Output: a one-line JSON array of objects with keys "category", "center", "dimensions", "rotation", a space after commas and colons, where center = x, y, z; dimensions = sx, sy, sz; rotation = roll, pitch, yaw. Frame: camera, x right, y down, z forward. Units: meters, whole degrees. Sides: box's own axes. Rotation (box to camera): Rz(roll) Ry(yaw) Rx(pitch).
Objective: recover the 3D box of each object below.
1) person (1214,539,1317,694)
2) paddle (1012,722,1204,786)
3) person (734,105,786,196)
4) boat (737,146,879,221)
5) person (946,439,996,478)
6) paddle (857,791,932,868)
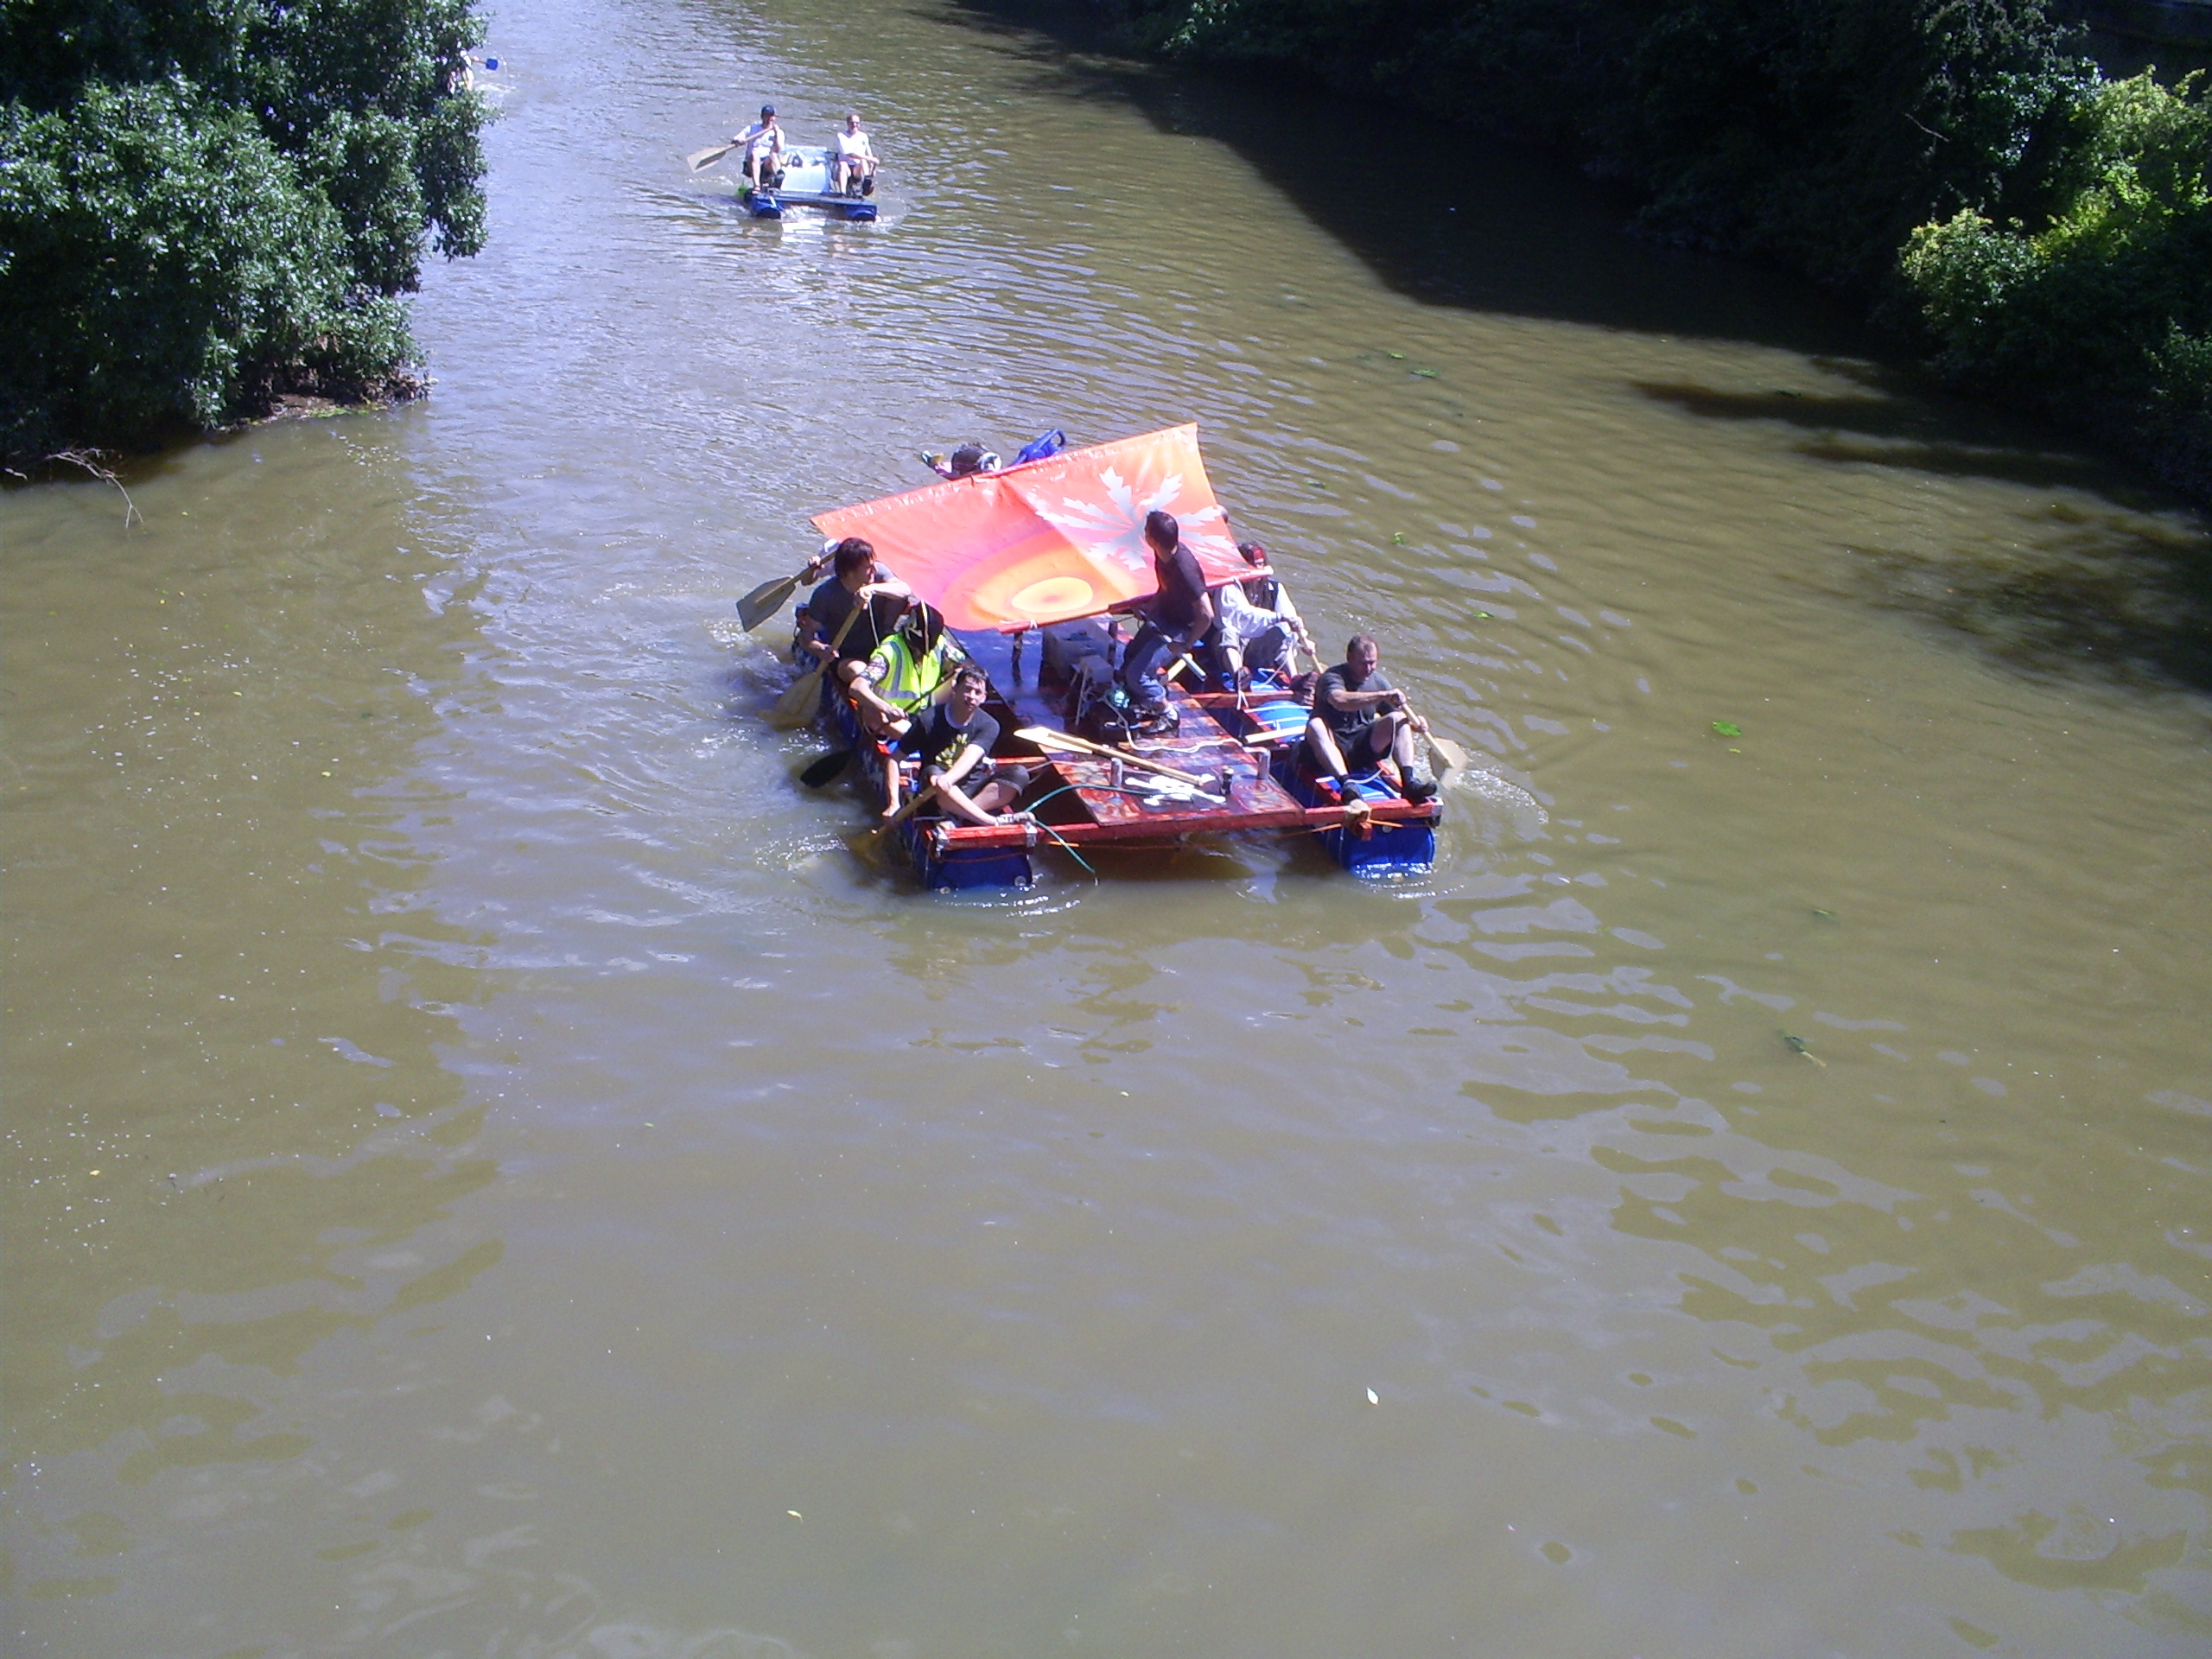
[{"category": "person", "center": [1.625, -2.402, 27.394], "dimensions": [1.048, 1.756, 1.572], "rotation": [0, 0, -22]}, {"category": "paddle", "center": [0.058, -0.769, 25.421], "dimensions": [2.154, 0.404, 0.499], "rotation": [16, 31, 6]}, {"category": "person", "center": [-6.447, -12.878, 44.737], "dimensions": [0.960, 1.397, 2.553], "rotation": [5, 32, -12]}, {"category": "boat", "center": [-5.571, -11.934, 45.084], "dimensions": [1.708, 0.860, 2.399], "rotation": [-3, 19, -12]}, {"category": "person", "center": [-1.554, -4.254, 27.815], "dimensions": [0.679, 0.381, 0.859], "rotation": [-6, 12, -8]}, {"category": "paddle", "center": [-2.175, -0.009, 24.788], "dimensions": [0.594, 0.822, 0.201], "rotation": [40, -8, -15]}]
